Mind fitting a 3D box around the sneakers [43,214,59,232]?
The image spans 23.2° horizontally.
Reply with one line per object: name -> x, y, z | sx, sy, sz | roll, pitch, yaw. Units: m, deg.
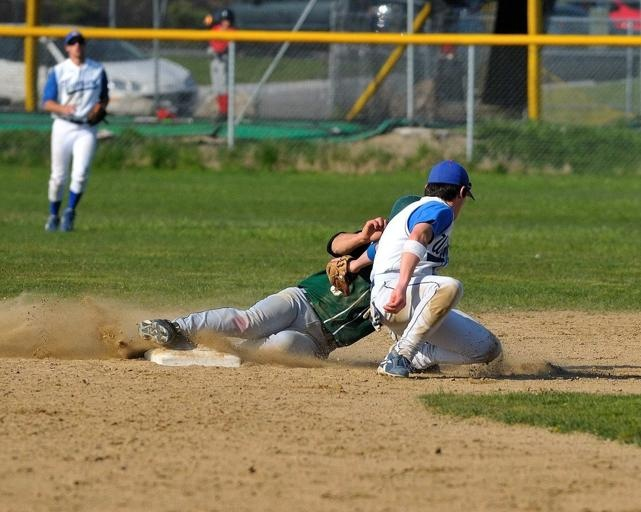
sneakers -> -3.148, -0.385, 18.329 | 0.100, 0.104, 0.247 | 15, 19, -13

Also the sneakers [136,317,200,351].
sneakers -> -1.390, 0.720, 14.022 | 0.457, 0.189, 0.254 | 15, -5, 32

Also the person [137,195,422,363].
person -> -0.128, 0.352, 14.315 | 2.816, 1.179, 0.726 | -16, 39, 1

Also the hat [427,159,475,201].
hat -> 1.200, -0.730, 14.150 | 0.389, 0.260, 0.543 | 6, -2, 32

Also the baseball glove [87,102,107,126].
baseball glove -> -2.542, -1.629, 18.082 | 0.200, 0.231, 0.240 | 18, 14, -35

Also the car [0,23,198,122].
car -> -2.625, -2.307, 19.854 | 2.065, 0.705, 1.218 | 4, 14, 17

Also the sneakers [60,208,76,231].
sneakers -> -2.967, -0.416, 18.348 | 0.115, 0.333, 0.142 | 4, -24, -10

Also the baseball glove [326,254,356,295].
baseball glove -> 0.173, 0.182, 14.245 | 0.216, 0.334, 0.247 | 32, 64, 28

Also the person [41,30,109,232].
person -> -2.852, -1.419, 18.111 | 0.702, 2.319, 0.388 | 4, 5, -1

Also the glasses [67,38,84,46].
glasses -> -2.805, -2.441, 17.933 | 0.141, 0.097, 0.226 | 3, -6, -12
